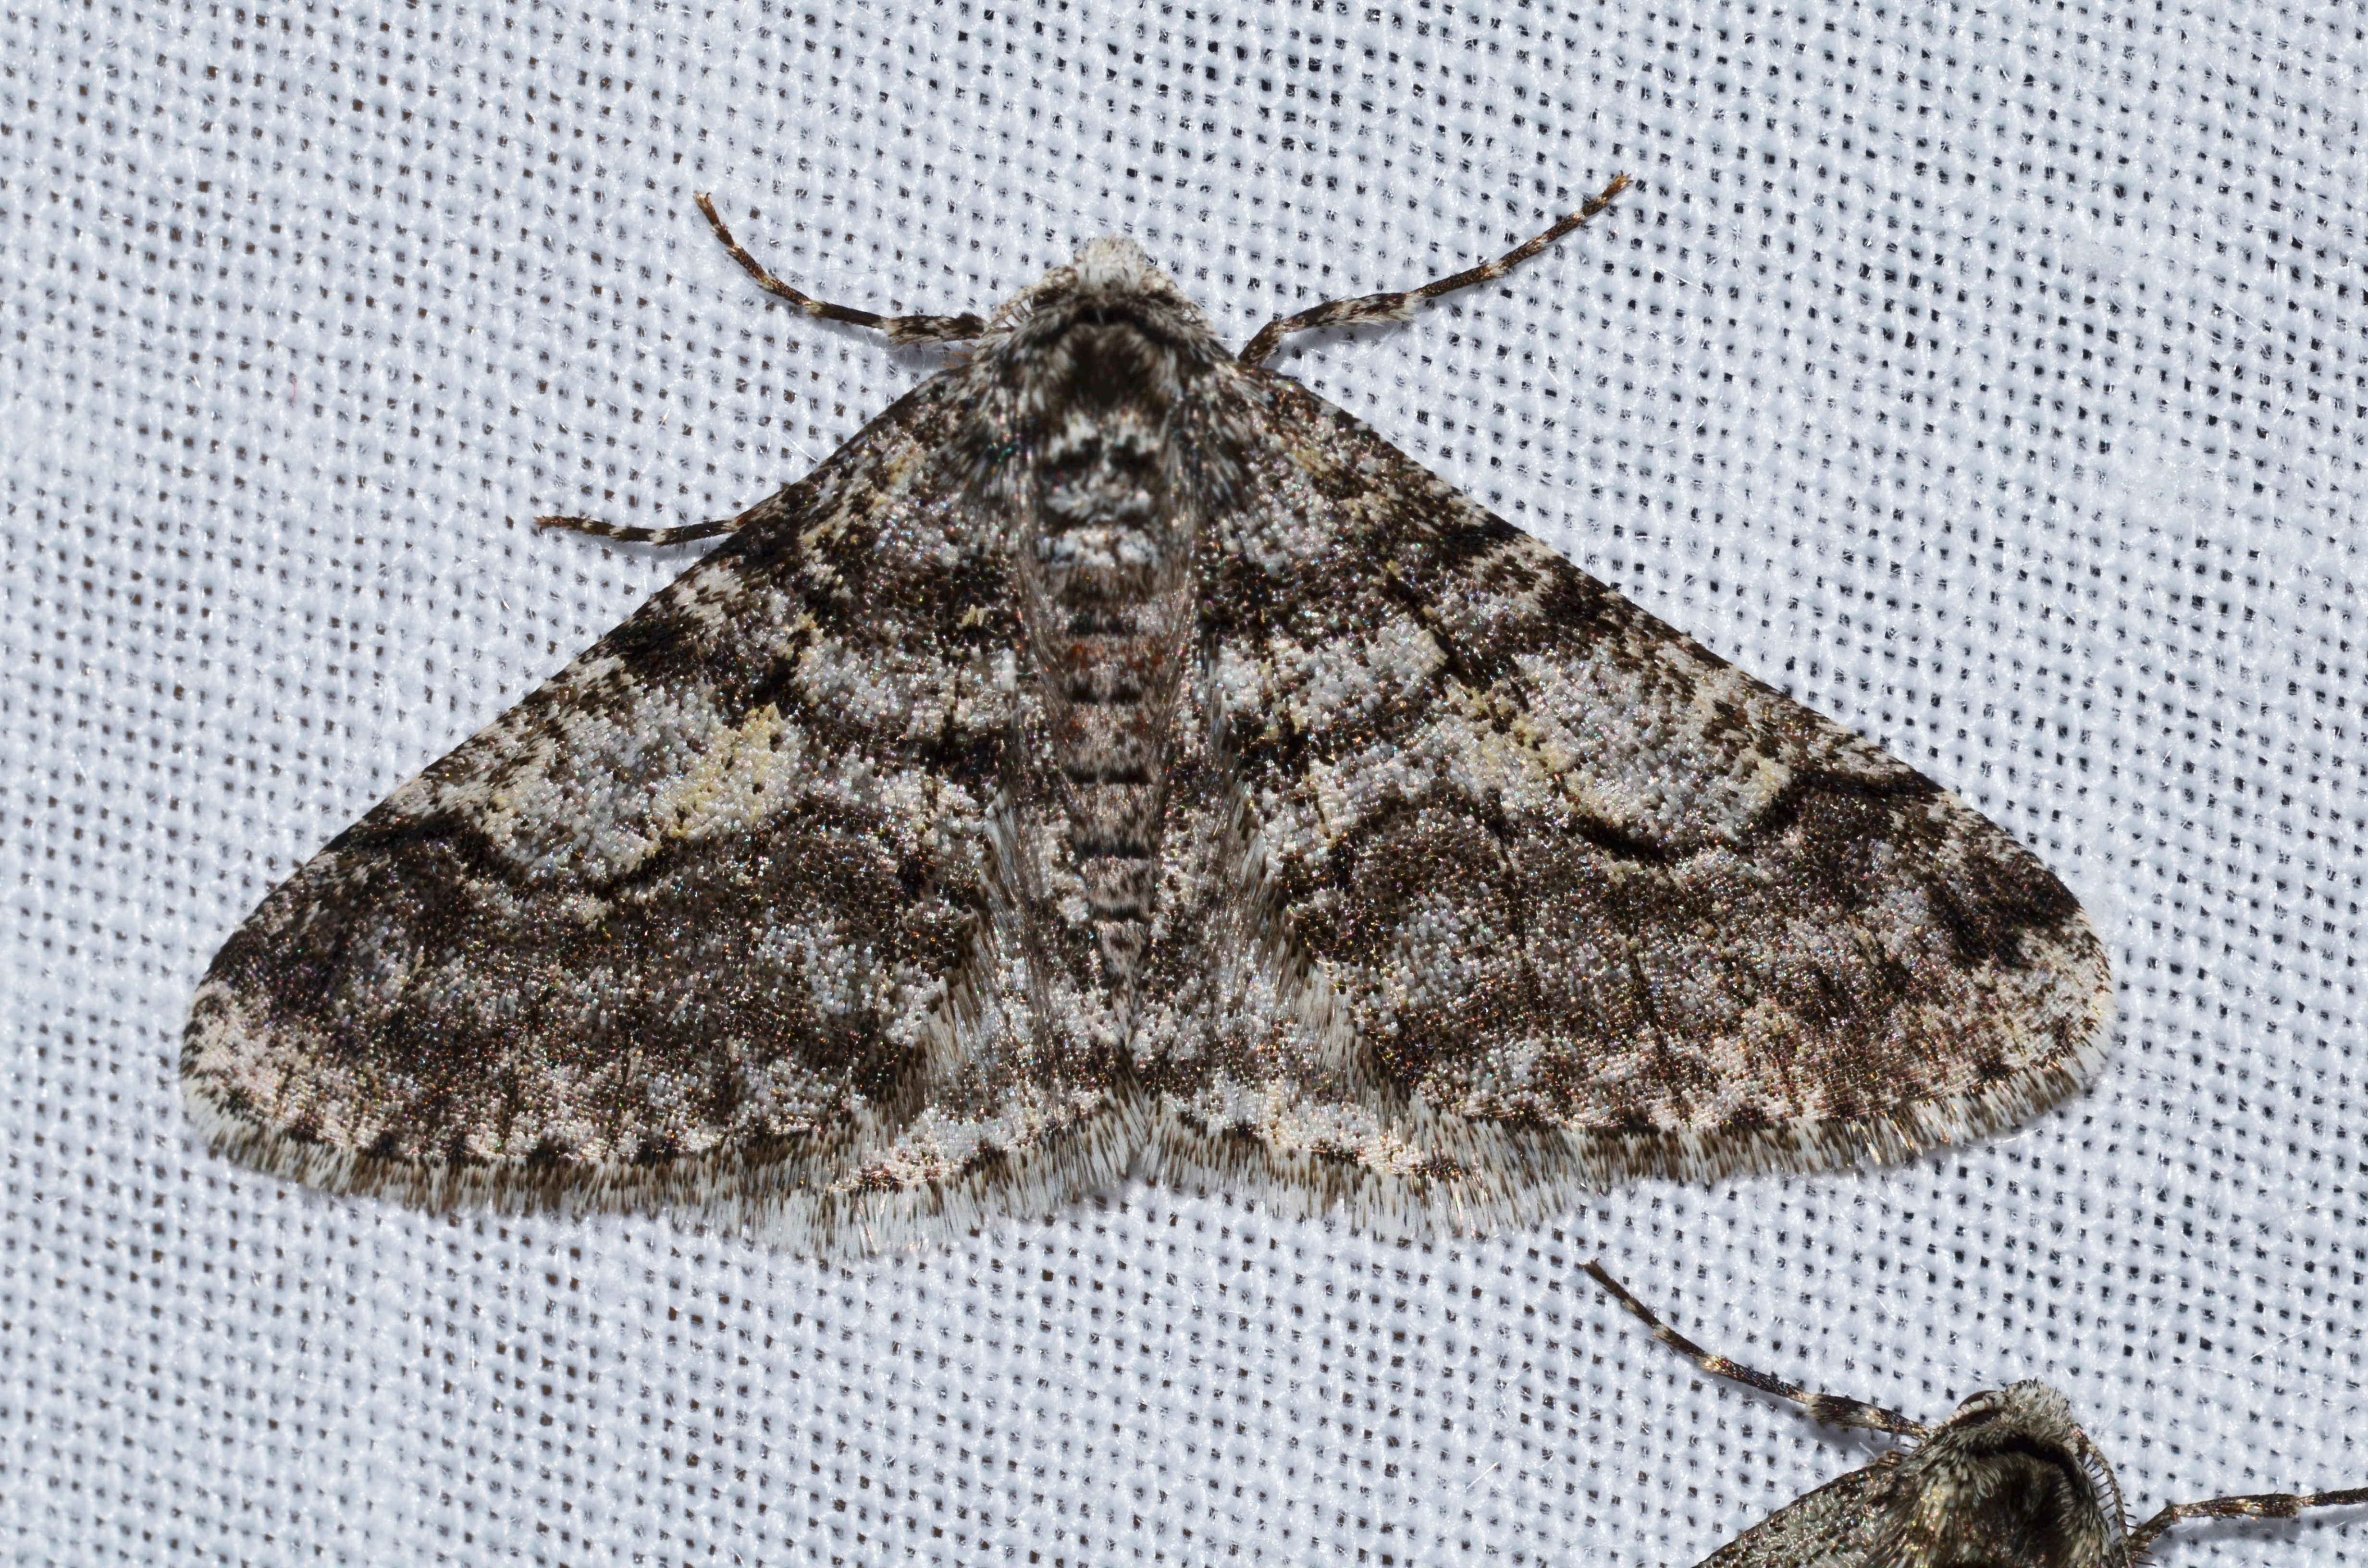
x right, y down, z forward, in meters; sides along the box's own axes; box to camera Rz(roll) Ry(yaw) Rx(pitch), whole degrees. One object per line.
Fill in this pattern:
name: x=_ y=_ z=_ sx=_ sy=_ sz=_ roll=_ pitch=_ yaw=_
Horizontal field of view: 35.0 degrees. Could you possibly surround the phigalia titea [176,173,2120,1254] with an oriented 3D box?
phigalia titea: x=-0.051 y=0.014 z=3.780 sx=1.835 sy=0.150 sz=0.883 roll=-2 pitch=85 yaw=0
